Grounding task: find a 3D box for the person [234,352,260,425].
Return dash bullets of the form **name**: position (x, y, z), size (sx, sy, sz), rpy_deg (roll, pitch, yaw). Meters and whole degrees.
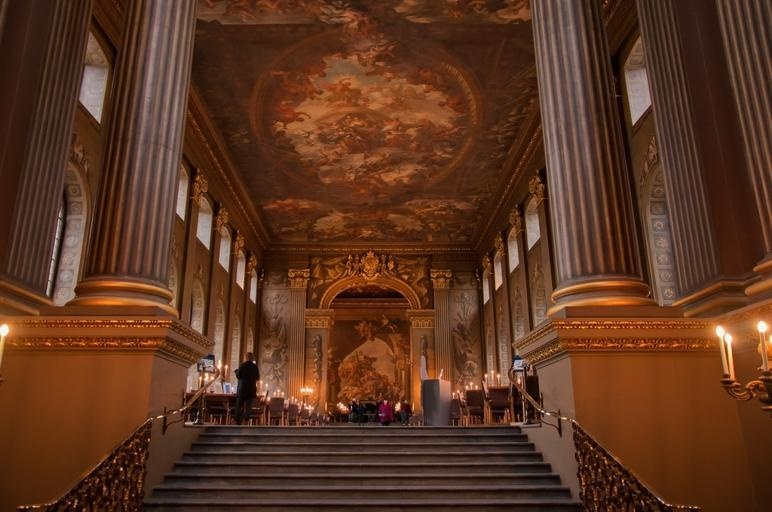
- **person**: position (-3.141, 3.030, 11.943), size (0.458, 1.528, 1.291), rpy_deg (6, -27, -12)
